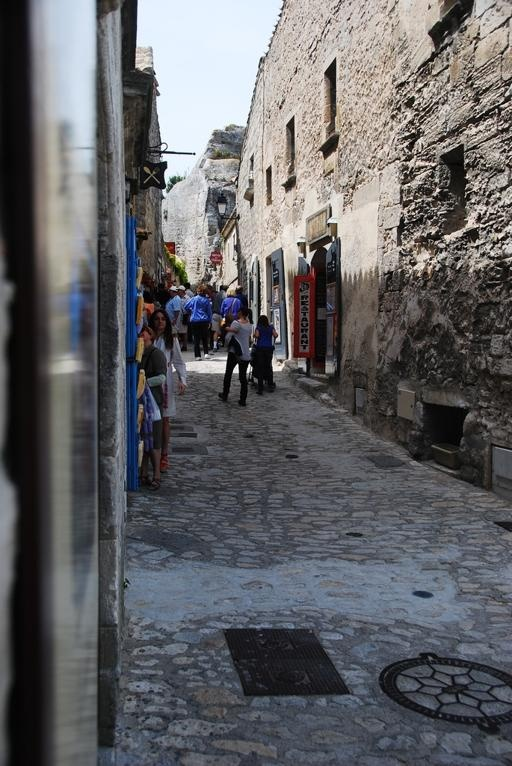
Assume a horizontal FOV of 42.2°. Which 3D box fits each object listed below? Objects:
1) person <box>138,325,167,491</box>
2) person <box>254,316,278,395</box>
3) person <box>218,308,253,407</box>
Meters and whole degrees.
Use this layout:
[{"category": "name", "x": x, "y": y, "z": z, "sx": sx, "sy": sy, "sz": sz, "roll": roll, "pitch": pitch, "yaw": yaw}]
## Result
[{"category": "person", "x": -0.912, "y": 0.218, "z": 5.917, "sx": 0.227, "sy": 1.415, "sz": 0.659, "roll": 0, "pitch": 4, "yaw": -10}, {"category": "person", "x": 0.157, "y": -0.500, "z": 11.757, "sx": 0.374, "sy": 1.379, "sz": 0.961, "roll": 1, "pitch": 4, "yaw": 0}, {"category": "person", "x": -0.323, "y": -0.432, "z": 10.727, "sx": 0.546, "sy": 1.539, "sz": 1.121, "roll": 0, "pitch": 4, "yaw": -3}]
